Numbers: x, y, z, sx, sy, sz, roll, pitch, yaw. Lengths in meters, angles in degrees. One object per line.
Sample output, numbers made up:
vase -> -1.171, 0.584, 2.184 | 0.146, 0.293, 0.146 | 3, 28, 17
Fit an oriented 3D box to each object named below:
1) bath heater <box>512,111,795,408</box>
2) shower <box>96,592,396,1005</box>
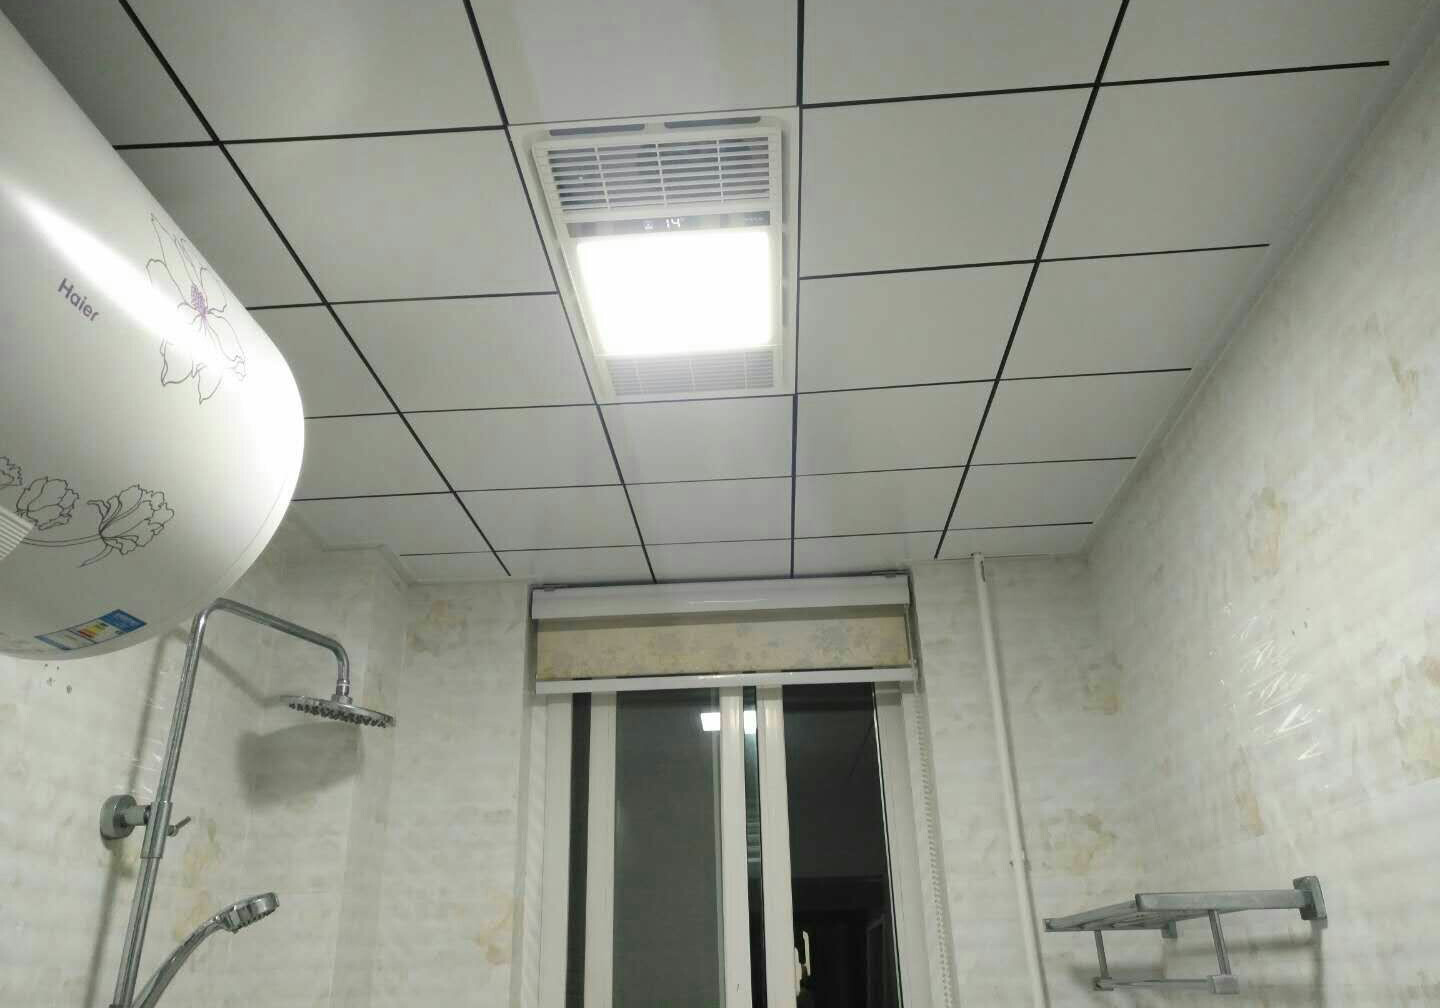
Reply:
bath heater -> -0.111, -0.550, 2.168 | 0.512, 0.098, 0.945 | -3, -27, 1
shower -> -1.254, 0.738, 2.448 | 0.453, 1.050, 0.515 | -2, -27, 6
